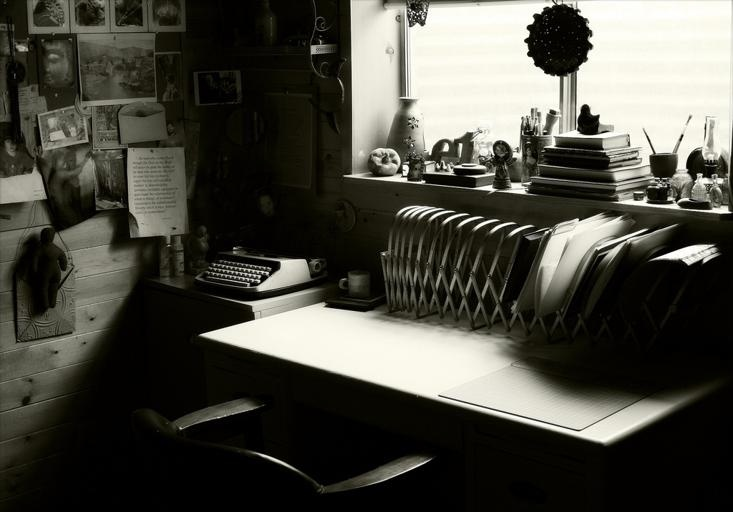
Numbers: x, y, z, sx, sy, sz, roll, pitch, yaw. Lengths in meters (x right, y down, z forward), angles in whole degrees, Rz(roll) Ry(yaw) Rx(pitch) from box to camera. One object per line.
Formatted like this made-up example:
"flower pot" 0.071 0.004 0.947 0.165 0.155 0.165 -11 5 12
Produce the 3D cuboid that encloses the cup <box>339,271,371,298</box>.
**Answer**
"cup" -0.046 0.130 2.667 0.139 0.108 0.093 -2 5 10

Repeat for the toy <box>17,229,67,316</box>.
"toy" -1.457 0.070 2.677 0.218 0.385 0.075 -7 18 -31

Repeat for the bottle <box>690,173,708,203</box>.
"bottle" 1.156 -0.238 2.070 0.057 0.084 0.099 8 17 19

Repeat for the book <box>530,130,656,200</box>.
"book" 0.849 -0.340 2.249 0.446 0.249 0.204 8 17 17

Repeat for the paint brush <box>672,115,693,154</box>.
"paint brush" 1.214 -0.469 2.286 0.028 0.179 0.021 26 13 12
